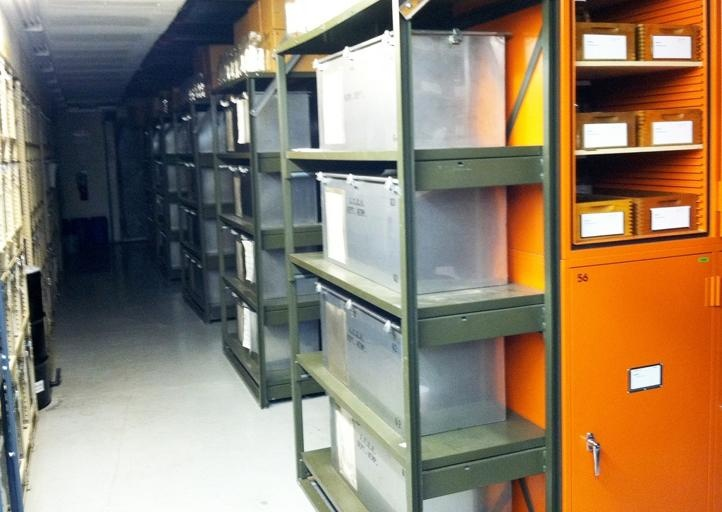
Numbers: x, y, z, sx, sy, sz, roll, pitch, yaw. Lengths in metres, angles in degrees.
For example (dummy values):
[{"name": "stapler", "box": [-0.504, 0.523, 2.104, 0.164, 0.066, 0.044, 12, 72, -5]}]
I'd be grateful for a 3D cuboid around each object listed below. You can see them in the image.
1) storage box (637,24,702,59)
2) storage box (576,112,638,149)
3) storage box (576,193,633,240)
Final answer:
[{"name": "storage box", "box": [1.315, -0.895, 2.663, 0.200, 0.116, 0.196, -1, 10, -9]}, {"name": "storage box", "box": [1.028, -0.517, 2.679, 0.199, 0.116, 0.193, -1, 8, -5]}, {"name": "storage box", "box": [1.017, -0.156, 2.639, 0.192, 0.122, 0.259, -3, 9, -6]}]
